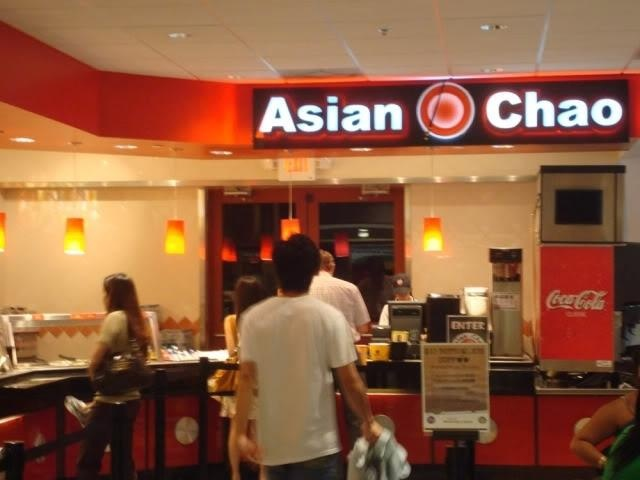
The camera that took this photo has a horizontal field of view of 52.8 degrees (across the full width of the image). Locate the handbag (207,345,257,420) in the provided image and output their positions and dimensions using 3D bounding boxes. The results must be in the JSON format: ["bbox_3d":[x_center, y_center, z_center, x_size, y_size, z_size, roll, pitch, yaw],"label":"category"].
[{"bbox_3d":[-0.816,1.337,5.899,0.382,0.583,0.233,12,-26,-34],"label":"handbag"}]

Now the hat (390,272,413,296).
[{"bbox_3d":[0.951,0.511,7.455,0.306,0.281,0.535,0,-2,6],"label":"hat"}]

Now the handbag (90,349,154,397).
[{"bbox_3d":[-1.538,1.031,5.010,0.377,0.272,0.284,-4,3,0],"label":"handbag"}]

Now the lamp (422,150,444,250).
[{"bbox_3d":[1.428,-0.472,8.133,0.273,1.254,0.587,-1,-2,9],"label":"lamp"}]

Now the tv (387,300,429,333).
[{"bbox_3d":[0.841,0.765,5.912,0.357,0.335,0.299,-2,-5,17],"label":"tv"}]

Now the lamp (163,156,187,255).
[{"bbox_3d":[-1.826,-0.318,8.188,0.236,0.993,0.878,0,-2,-12],"label":"lamp"}]
